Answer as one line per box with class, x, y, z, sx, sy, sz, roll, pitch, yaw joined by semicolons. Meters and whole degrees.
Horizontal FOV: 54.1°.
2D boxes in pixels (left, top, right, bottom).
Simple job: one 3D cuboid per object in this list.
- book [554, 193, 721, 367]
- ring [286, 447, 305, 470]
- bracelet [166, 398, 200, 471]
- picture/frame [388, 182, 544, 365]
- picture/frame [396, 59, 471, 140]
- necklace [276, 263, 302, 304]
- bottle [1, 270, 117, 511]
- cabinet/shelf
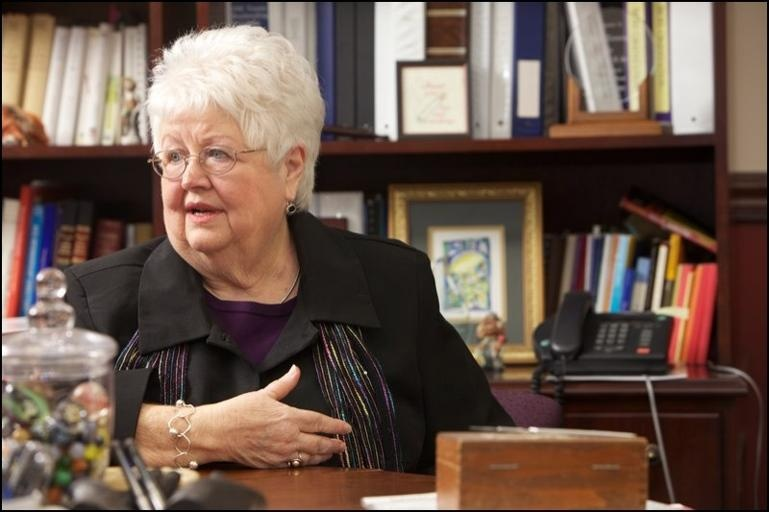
book;0.878;0.092;2.594;0.482;0.650;0.511;5;-3;23
ring;-0.184;0.417;1.550;0.026;0.034;0.014;9;-34;-5
bracelet;-0.416;0.367;1.560;0.071;0.100;0.046;2;-2;-7
picture/frame;0.255;0.060;2.221;0.594;0.674;0.049;-1;-3;2
picture/frame;0.153;-0.478;2.293;0.267;0.251;0.020;-1;0;4
necklace;-0.224;0.067;1.813;0.077;0.018;0.079;-28;26;9
bottle;-0.543;0.215;1.241;0.178;0.326;0.073;3;-2;-13
cabinet/shelf;-0.297;0.092;1.883;1.304;1.164;0.694;-5;3;-14
